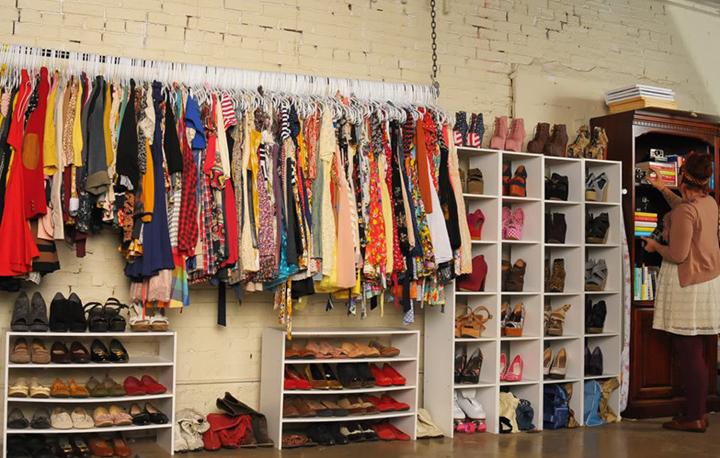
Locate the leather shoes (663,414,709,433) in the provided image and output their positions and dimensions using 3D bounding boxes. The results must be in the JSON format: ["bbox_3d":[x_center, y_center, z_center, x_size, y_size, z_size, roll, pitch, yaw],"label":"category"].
[{"bbox_3d":[3.079,1.828,7.496,0.261,0.085,0.195,2,-5,23],"label":"leather shoes"}]

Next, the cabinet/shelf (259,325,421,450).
[{"bbox_3d":[-0.199,1.449,7.139,1.086,0.743,0.387,1,-7,-18],"label":"cabinet/shelf"}]

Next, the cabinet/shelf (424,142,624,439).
[{"bbox_3d":[1.628,0.580,7.828,1.978,2.671,0.539,1,-3,-18],"label":"cabinet/shelf"}]

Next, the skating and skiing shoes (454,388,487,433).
[{"bbox_3d":[1.033,1.728,7.472,0.180,0.226,0.516,2,-6,-22],"label":"skating and skiing shoes"}]

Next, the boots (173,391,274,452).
[{"bbox_3d":[-1.168,1.713,6.880,0.659,0.251,0.427,-1,35,-20],"label":"boots"}]
